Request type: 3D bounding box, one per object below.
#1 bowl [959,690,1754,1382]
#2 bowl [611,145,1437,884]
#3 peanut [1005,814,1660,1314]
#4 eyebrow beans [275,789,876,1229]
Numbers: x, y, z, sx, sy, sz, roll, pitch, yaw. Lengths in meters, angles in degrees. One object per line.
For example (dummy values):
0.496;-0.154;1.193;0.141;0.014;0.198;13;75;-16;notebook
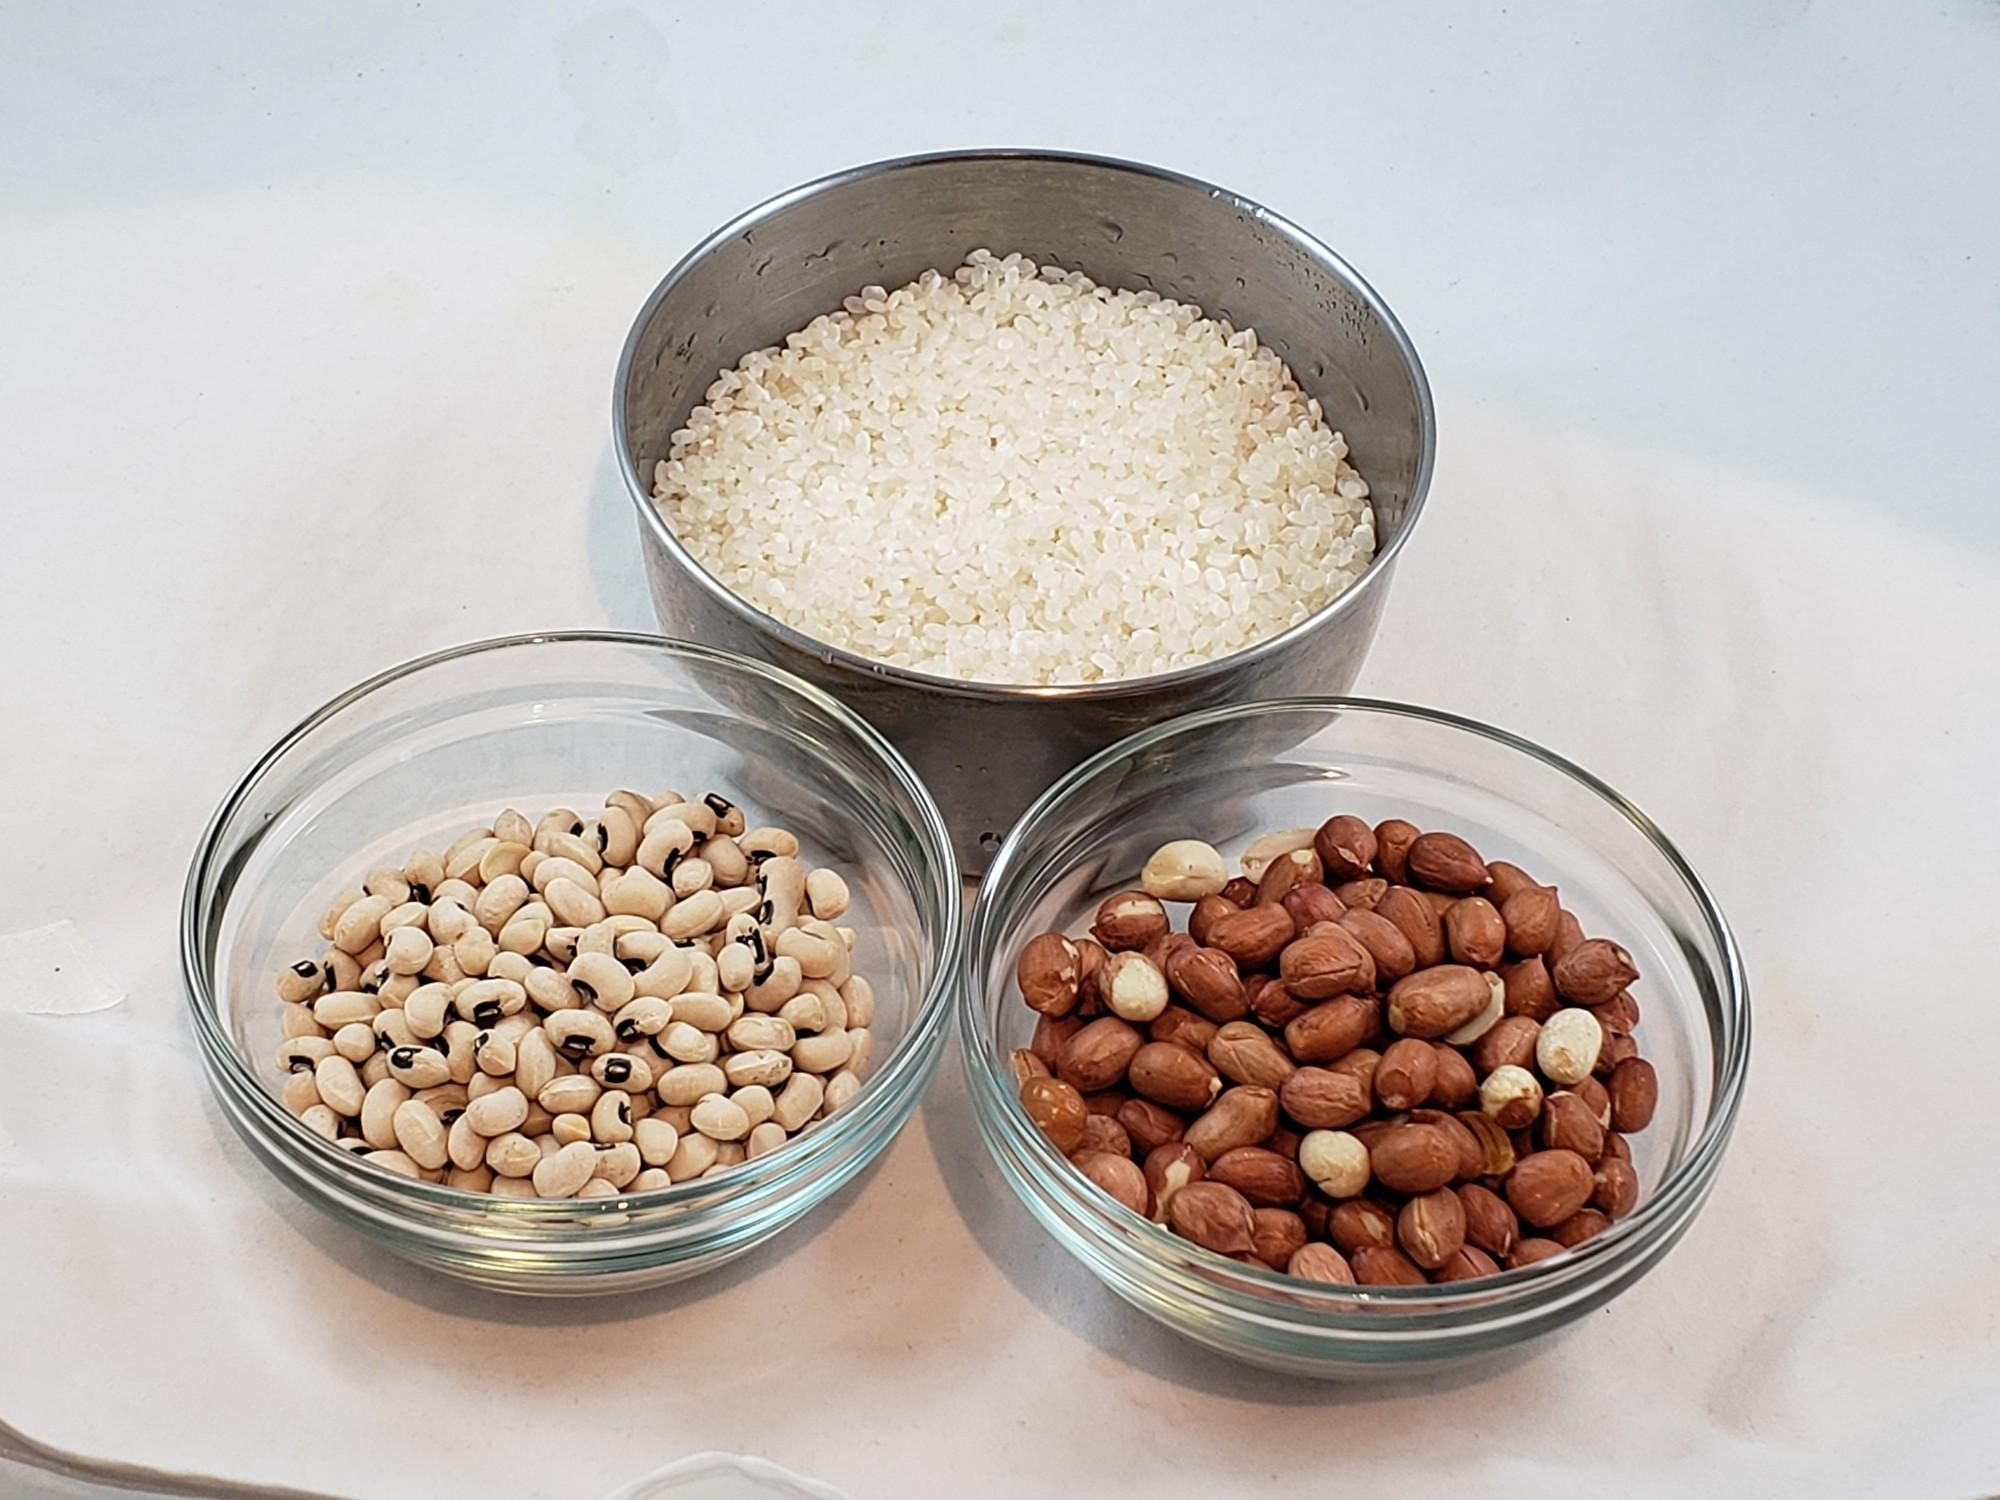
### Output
0.268;0.243;1.666;0.686;0.495;0.507;-1;28;4;bowl
0.060;-0.333;1.681;0.692;0.247;0.687;2;53;-2;bowl
0.247;0.208;1.482;0.473;0.114;0.371;2;58;1;peanut
-0.320;0.183;1.507;0.433;0.114;0.329;-13;59;-9;eyebrow beans
